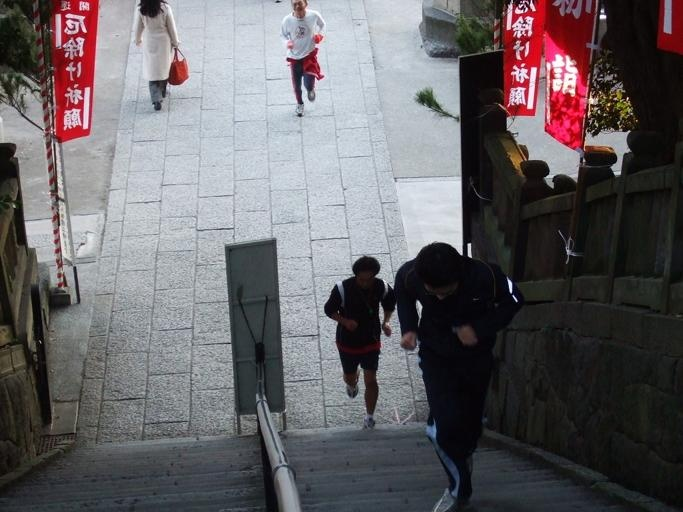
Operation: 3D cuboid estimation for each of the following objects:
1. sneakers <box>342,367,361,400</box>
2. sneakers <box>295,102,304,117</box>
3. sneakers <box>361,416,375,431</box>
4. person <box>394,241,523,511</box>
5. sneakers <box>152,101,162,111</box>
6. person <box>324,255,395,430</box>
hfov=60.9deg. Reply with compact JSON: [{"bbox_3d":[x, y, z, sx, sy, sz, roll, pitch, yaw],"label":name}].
[{"bbox_3d":[0.104,1.191,5.588,0.142,0.192,0.450,1,-38,6],"label":"sneakers"},{"bbox_3d":[-0.774,-2.720,10.768,0.162,0.209,0.482,0,20,-2],"label":"sneakers"},{"bbox_3d":[0.254,1.564,5.500,0.099,0.166,0.167,1,16,-6],"label":"sneakers"},{"bbox_3d":[0.709,0.725,3.439,0.748,1.448,0.461,-4,-5,8],"label":"person"},{"bbox_3d":[-3.452,-2.812,10.896,0.177,0.186,0.113,-2,33,-6],"label":"sneakers"},{"bbox_3d":[0.190,0.811,5.111,0.594,1.543,0.931,-3,-5,4],"label":"person"}]
